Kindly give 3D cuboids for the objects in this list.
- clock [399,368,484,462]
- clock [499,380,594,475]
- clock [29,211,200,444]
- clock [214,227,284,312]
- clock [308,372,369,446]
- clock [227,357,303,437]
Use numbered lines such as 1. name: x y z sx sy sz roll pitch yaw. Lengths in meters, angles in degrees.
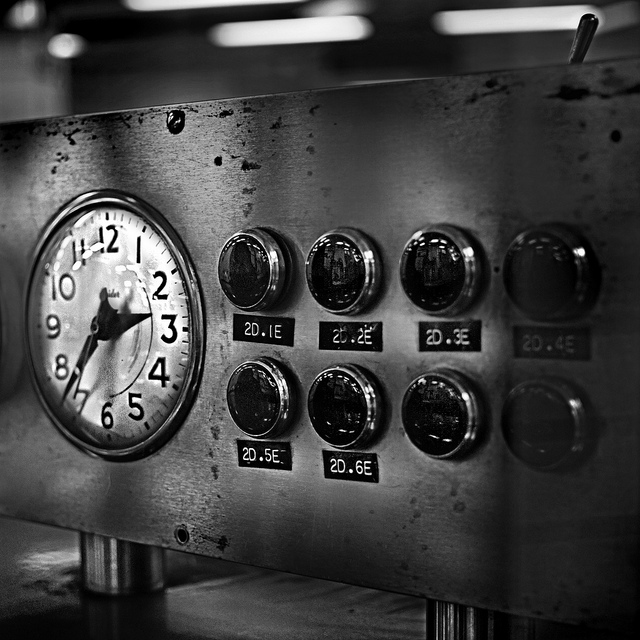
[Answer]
1. clock: 0.088 0.067 0.681 0.064 0.061 0.067 4 2 42
2. clock: 0.159 0.075 0.652 0.061 0.065 0.019 -2 -14 13
3. clock: -0.177 0.005 0.815 0.228 0.212 0.031 2 3 28
4. clock: -0.056 -0.042 0.747 0.018 0.054 0.057 -9 -16 -47
5. clock: 0.015 0.068 0.714 0.046 0.042 0.045 -2 -47 -55
6. clock: -0.049 0.062 0.760 0.074 0.067 0.029 -1 4 43
